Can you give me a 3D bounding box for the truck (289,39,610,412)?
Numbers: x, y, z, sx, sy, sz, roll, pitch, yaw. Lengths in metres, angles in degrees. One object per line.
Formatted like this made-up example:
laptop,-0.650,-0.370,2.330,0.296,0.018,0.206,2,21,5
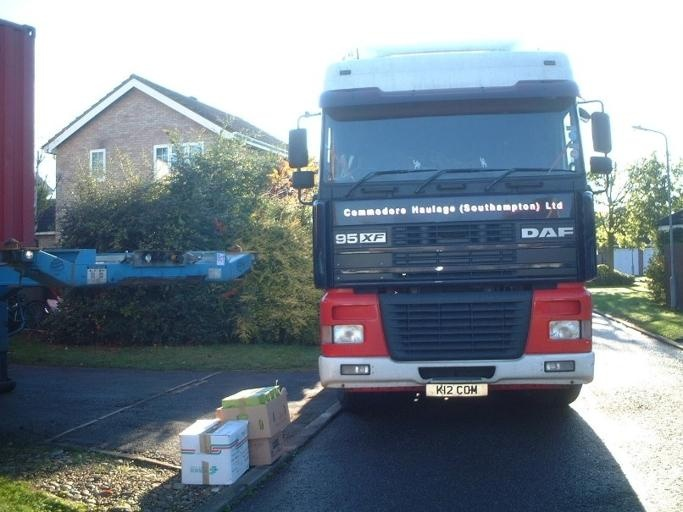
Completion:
truck,1.614,-0.209,11.180,2.795,3.294,5.100,-1,-5,6
